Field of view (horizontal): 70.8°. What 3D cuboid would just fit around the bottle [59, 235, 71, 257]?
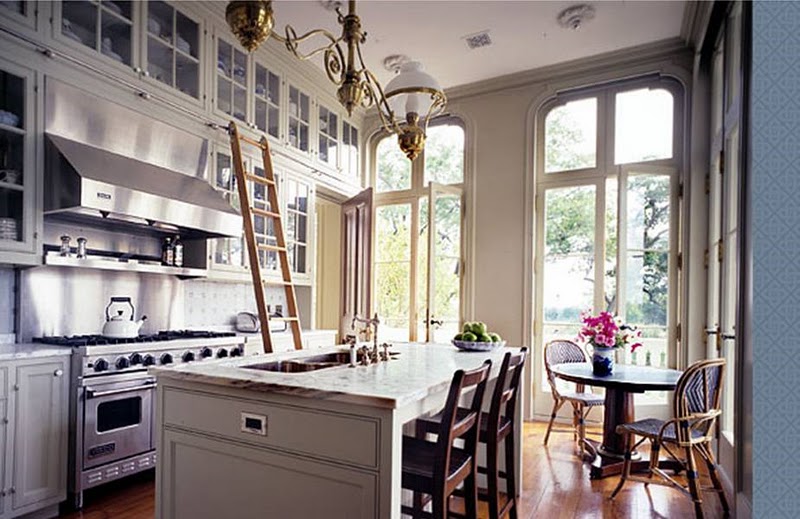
[{"bbox_3d":[-2.783,-0.113,4.690,0.076,0.208,0.273,1,-7,-31],"label":"bottle"}]

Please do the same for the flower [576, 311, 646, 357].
[{"bbox_3d":[1.932,0.595,5.322,0.501,0.411,0.439,20,-6,-16],"label":"flower"}]

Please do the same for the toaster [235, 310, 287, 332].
[{"bbox_3d":[-1.532,0.669,5.966,0.374,0.209,0.376,1,0,23],"label":"toaster"}]

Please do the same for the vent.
[{"bbox_3d":[-2.283,-0.872,4.908,0.466,0.988,1.582,-8,-12,30],"label":"vent"}]

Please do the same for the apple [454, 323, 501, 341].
[{"bbox_3d":[0.640,0.614,4.726,0.393,0.159,0.239,-1,-6,-3],"label":"apple"}]

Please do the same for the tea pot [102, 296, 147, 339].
[{"bbox_3d":[-2.445,0.520,4.991,0.384,0.319,0.295,4,-11,-24],"label":"tea pot"}]

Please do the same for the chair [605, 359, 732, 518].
[{"bbox_3d":[2.262,1.439,4.676,0.843,1.236,0.780,-6,-7,37],"label":"chair"}]

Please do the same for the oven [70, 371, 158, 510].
[{"bbox_3d":[-2.567,1.441,4.685,0.772,0.966,0.760,-7,-6,9],"label":"oven"}]

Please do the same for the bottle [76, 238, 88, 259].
[{"bbox_3d":[-2.695,-0.091,4.780,0.082,0.204,0.284,1,-7,-29],"label":"bottle"}]

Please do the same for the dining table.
[{"bbox_3d":[1.926,1.361,5.011,1.025,0.744,1.021,-1,-3,1],"label":"dining table"}]
